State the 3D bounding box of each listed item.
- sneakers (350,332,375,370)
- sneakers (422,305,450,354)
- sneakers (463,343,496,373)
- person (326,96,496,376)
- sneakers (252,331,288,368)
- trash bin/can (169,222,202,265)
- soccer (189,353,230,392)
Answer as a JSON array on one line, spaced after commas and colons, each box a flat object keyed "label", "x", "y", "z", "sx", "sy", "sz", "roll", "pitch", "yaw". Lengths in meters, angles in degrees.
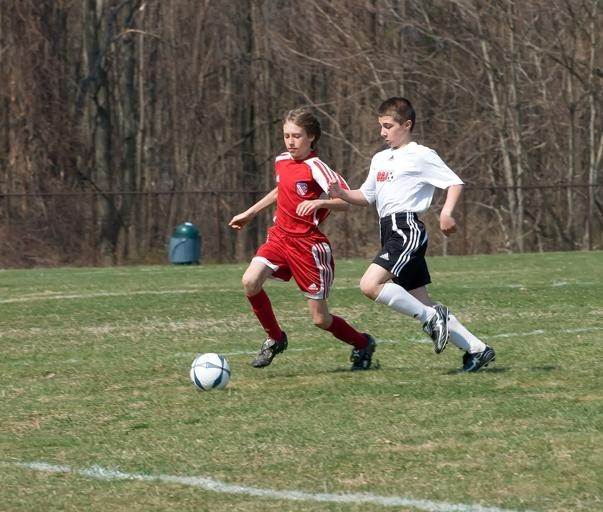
[{"label": "sneakers", "x": 0.534, "y": 0.831, "z": 9.576, "sx": 0.176, "sy": 0.346, "sz": 0.138, "roll": 31, "pitch": -21, "yaw": -26}, {"label": "sneakers", "x": 1.105, "y": 0.580, "z": 9.126, "sx": 0.266, "sy": 0.422, "sz": 0.156, "roll": -3, "pitch": -23, "yaw": -11}, {"label": "sneakers", "x": 1.482, "y": 0.859, "z": 9.261, "sx": 0.388, "sy": 0.151, "sz": 0.126, "roll": -17, "pitch": 28, "yaw": 19}, {"label": "person", "x": 0.906, "y": 0.012, "z": 9.195, "sx": 1.278, "sy": 1.901, "sz": 0.751, "roll": 7, "pitch": 16, "yaw": 31}, {"label": "sneakers", "x": -0.267, "y": 0.828, "z": 9.639, "sx": 0.352, "sy": 0.164, "sz": 0.131, "roll": -42, "pitch": 37, "yaw": -20}, {"label": "trash bin/can", "x": -2.183, "y": -0.257, "z": 21.427, "sx": 0.697, "sy": 0.723, "sz": 0.624, "roll": 1, "pitch": 3, "yaw": -3}, {"label": "soccer", "x": -0.730, "y": 0.929, "z": 8.860, "sx": 0.309, "sy": 0.269, "sz": 0.186, "roll": -2, "pitch": 14, "yaw": -5}]
